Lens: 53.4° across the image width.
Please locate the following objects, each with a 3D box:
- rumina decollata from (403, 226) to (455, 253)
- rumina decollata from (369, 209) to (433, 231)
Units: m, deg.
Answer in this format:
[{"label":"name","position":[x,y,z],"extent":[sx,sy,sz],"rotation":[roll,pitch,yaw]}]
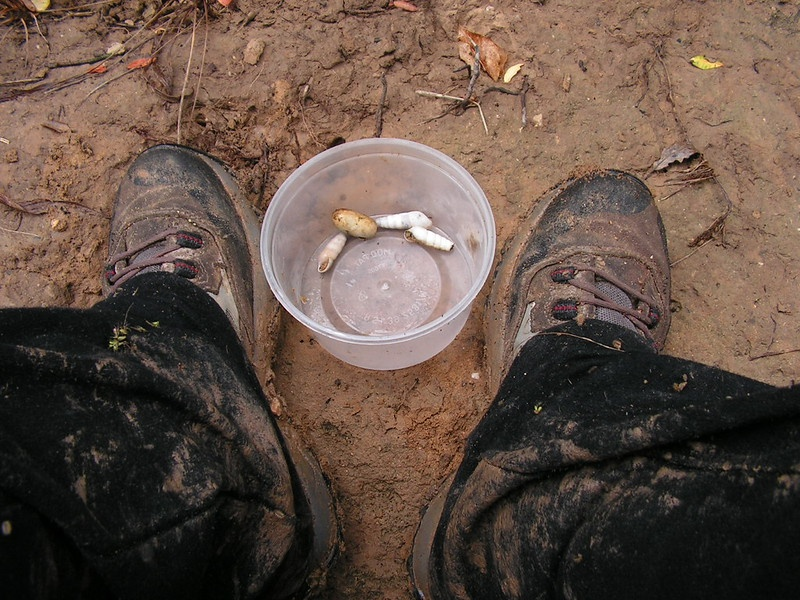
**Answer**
[{"label":"rumina decollata","position":[0.116,-0.237,3.144],"extent":[0.201,0.087,0.066],"rotation":[21,6,1]},{"label":"rumina decollata","position":[0.007,-0.311,3.178],"extent":[0.256,0.087,0.098],"rotation":[-5,73,9]}]
